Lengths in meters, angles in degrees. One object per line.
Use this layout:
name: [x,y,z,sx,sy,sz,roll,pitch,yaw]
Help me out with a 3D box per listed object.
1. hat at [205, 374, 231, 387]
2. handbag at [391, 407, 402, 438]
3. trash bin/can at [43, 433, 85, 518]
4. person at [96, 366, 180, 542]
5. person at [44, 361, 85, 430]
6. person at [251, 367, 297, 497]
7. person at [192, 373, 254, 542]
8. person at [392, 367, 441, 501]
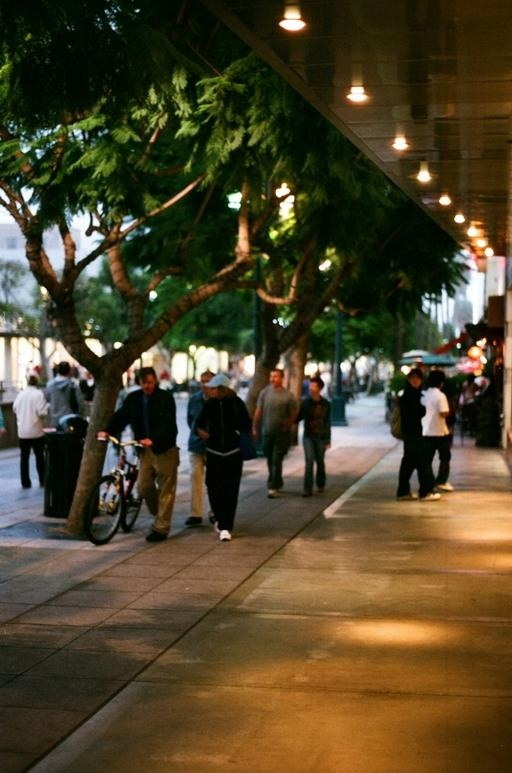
hat: [-0.399,-0.049,9.790,0.223,0.106,0.138,2,5,-11]
handbag: [1.975,0.522,13.007,0.135,0.424,0.455,2,0,6]
trash bin/can: [-2.335,1.061,10.869,0.545,0.930,0.283,2,0,31]
person: [-1.179,0.720,9.867,0.738,1.697,0.809,2,0,-29]
person: [-2.935,0.146,14.081,0.560,0.898,0.825,2,0,-12]
person: [0.268,0.681,13.504,0.612,1.777,1.267,2,0,1]
person: [-0.357,0.763,9.941,0.508,1.652,0.549,2,0,-22]
person: [2.277,0.689,13.051,0.572,1.805,0.693,2,0,10]
